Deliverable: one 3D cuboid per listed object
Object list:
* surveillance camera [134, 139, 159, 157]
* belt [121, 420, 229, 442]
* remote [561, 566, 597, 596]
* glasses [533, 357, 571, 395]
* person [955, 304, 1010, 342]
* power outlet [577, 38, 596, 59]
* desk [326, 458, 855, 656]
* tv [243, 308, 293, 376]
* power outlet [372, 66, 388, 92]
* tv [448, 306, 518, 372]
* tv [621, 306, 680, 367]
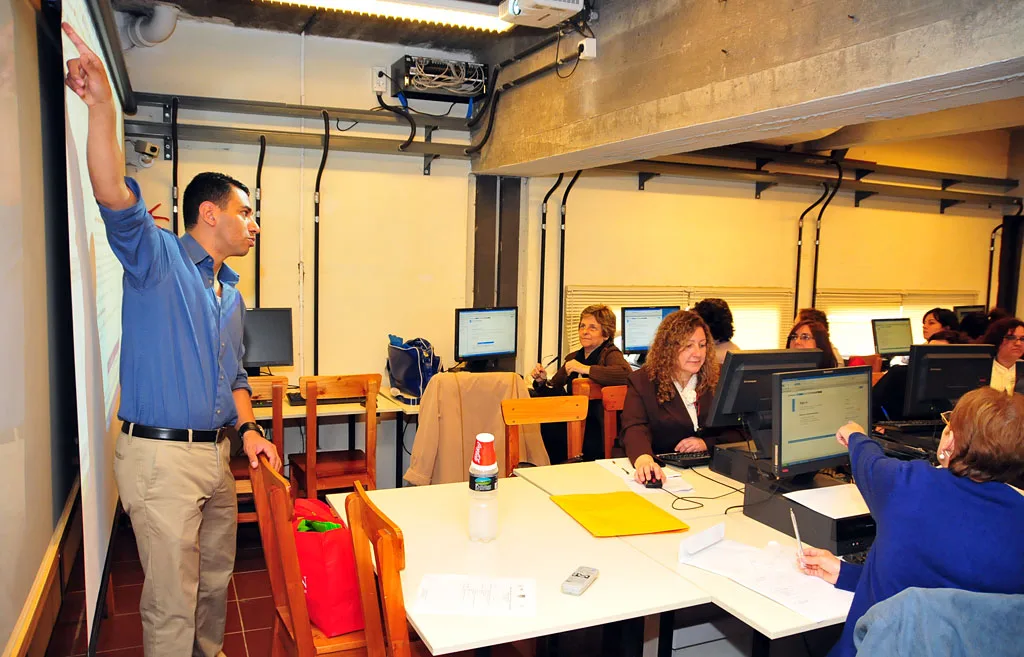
[{"bbox_3d":[-2.558,-1.276,5.381,0.168,0.094,0.058,9,-9,-34],"label":"surveillance camera"},{"bbox_3d":[-1.464,0.455,3.359,0.201,0.038,0.193,3,1,8],"label":"belt"},{"bbox_3d":[0.278,1.029,3.109,0.101,0.061,0.174,2,4,28],"label":"remote"},{"bbox_3d":[0.322,0.384,6.200,0.174,0.227,0.549,-3,-12,-8],"label":"glasses"},{"bbox_3d":[4.458,-0.035,7.311,0.551,0.299,0.738,-1,7,45],"label":"person"},{"bbox_3d":[0.479,-1.763,4.768,0.115,0.120,0.068,0,4,1],"label":"power outlet"},{"bbox_3d":[0.191,0.978,3.339,1.569,0.328,1.082,-3,12,-28],"label":"desk"},{"bbox_3d":[-1.754,0.071,5.481,0.545,0.498,0.172,1,-1,-21],"label":"tv"},{"bbox_3d":[-1.023,-1.958,5.981,0.151,0.189,0.060,-1,3,-20],"label":"power outlet"},{"bbox_3d":[-0.235,0.063,6.258,0.572,0.490,0.178,-1,17,-25],"label":"tv"},{"bbox_3d":[1.019,0.057,5.735,0.581,0.507,0.184,0,-1,-11],"label":"tv"}]
